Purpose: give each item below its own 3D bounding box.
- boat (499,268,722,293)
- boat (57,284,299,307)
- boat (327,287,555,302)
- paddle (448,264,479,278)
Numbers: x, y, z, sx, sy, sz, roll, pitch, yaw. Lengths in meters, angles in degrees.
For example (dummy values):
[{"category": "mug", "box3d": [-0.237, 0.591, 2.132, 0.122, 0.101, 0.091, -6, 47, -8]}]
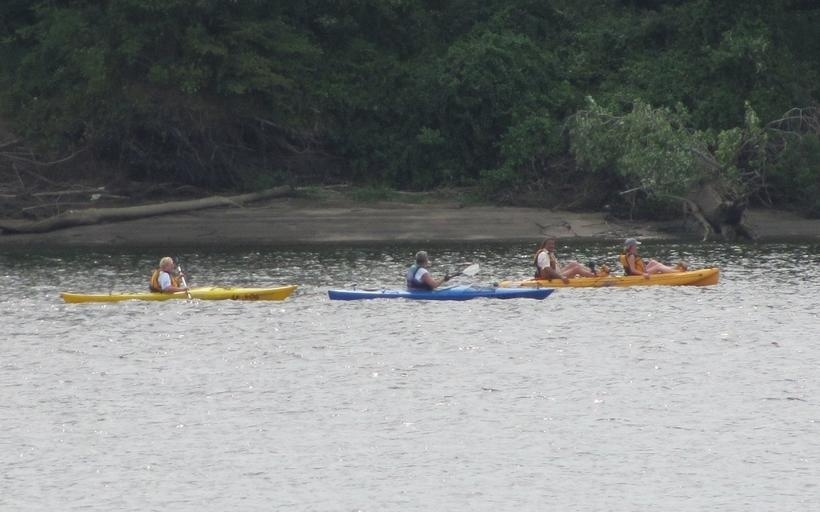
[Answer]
[{"category": "boat", "box3d": [8.010, 0.988, 68.515, 6.643, 1.079, 0.594, 0, 87, -4]}, {"category": "boat", "box3d": [-8.617, 1.485, 67.348, 8.473, 0.940, 0.635, 1, 51, -4]}, {"category": "boat", "box3d": [1.239, 1.519, 67.514, 8.236, 0.776, 0.649, 1, 51, -4]}, {"category": "paddle", "box3d": [2.133, 0.666, 68.336, 0.173, 1.357, 0.371, 3, 78, -26]}]
